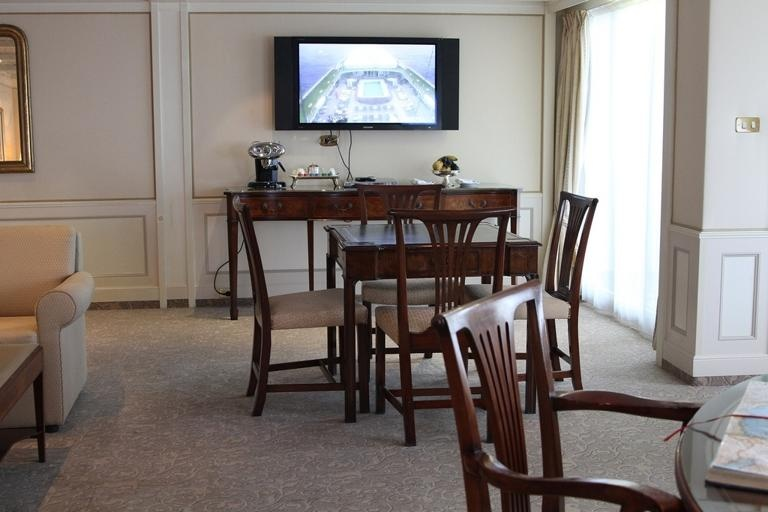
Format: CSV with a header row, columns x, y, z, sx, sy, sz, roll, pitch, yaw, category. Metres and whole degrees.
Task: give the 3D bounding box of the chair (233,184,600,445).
x,y,z,sx,sy,sz,roll,pitch,yaw,category
0.160,0.337,3.583,1.811,0.872,0.460,-2,2,-5,chair
